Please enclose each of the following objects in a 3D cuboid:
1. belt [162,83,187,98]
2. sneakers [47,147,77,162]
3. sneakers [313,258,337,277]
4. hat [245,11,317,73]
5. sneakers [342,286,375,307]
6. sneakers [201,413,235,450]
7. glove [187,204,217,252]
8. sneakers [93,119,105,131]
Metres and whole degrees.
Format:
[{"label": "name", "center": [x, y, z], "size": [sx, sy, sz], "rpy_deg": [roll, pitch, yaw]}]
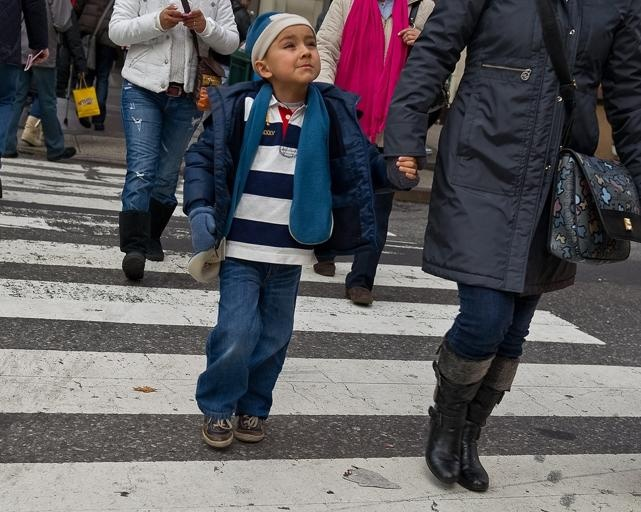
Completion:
[{"label": "belt", "center": [-1.054, -1.192, 5.207], "size": [0.096, 0.037, 0.112], "rpy_deg": [-4, -20, -5]}, {"label": "sneakers", "center": [-3.483, -1.361, 9.744], "size": [0.410, 0.144, 0.137], "rpy_deg": [-17, 43, -18]}, {"label": "sneakers", "center": [0.041, 0.104, 6.129], "size": [0.123, 0.170, 0.277], "rpy_deg": [-1, 1, -9]}, {"label": "hat", "center": [-0.182, -0.931, 3.180], "size": [0.272, 0.254, 0.164], "rpy_deg": [1, 21, -7]}, {"label": "sneakers", "center": [0.292, 0.307, 5.575], "size": [0.109, 0.082, 0.265], "rpy_deg": [2, 2, -25]}, {"label": "sneakers", "center": [-0.451, 0.786, 3.243], "size": [0.105, 0.074, 0.197], "rpy_deg": [0, 15, -12]}, {"label": "glove", "center": [-0.482, -0.111, 2.963], "size": [0.130, 0.168, 0.079], "rpy_deg": [-15, -19, 30]}, {"label": "sneakers", "center": [-3.977, -2.328, 12.927], "size": [0.192, 0.159, 0.218], "rpy_deg": [20, 36, 38]}]
